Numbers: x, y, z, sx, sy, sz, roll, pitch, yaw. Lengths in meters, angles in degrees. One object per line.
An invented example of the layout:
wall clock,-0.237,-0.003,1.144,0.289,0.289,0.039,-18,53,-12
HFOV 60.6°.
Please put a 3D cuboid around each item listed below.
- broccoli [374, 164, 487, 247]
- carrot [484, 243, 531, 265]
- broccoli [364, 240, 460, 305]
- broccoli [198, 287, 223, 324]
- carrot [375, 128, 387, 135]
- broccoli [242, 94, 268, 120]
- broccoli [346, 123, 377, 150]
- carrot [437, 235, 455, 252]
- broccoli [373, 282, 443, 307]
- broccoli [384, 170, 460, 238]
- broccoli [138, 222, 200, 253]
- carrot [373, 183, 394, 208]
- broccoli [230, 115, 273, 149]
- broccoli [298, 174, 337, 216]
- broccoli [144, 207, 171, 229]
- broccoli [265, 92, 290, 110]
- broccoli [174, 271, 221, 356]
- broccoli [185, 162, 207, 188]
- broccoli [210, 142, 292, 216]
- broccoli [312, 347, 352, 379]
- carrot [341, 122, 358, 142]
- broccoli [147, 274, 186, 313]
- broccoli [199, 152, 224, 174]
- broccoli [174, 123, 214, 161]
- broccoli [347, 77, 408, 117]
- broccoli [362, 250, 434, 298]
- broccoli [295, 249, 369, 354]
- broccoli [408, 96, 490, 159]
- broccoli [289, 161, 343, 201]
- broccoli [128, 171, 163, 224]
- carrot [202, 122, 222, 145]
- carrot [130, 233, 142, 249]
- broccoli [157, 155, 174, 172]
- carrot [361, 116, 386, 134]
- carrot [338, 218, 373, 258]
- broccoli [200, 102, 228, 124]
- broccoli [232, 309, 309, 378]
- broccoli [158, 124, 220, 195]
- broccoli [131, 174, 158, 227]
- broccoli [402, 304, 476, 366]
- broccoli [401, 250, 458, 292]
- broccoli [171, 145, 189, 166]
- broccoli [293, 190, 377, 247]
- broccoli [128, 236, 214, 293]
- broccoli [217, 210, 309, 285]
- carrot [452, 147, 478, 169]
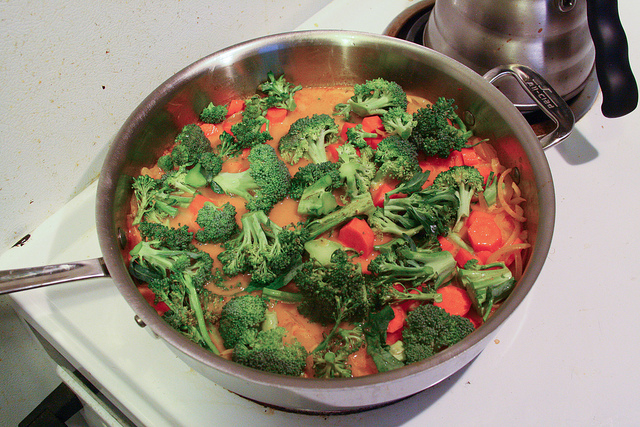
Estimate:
broccoli,0.570,-0.050,2.905,0.541,0.378,0.249,-9,37,11
carrot,0.927,0.187,2.726,0.129,0.135,0.032,-32,85,-2
broccoli,0.533,0.324,2.791,0.438,0.375,0.170,-31,88,20
broccoli,-0.526,0.458,2.687,0.122,0.037,0.158,-4,83,-25
carrot,0.345,-0.459,3.075,0.056,0.017,0.013,25,60,14
broccoli,-0.367,-0.611,3.125,0.126,0.038,0.149,28,46,16
broccoli,0.226,-0.440,3.016,0.148,0.075,0.134,0,79,3
carrot,0.656,0.147,2.825,0.069,0.018,0.069,-20,70,-11
broccoli,0.420,0.397,2.634,0.232,0.143,0.100,3,96,0
broccoli,0.522,-0.042,2.819,0.351,0.116,0.336,-1,70,6
broccoli,-0.781,0.118,2.856,0.199,0.086,0.199,-28,93,-1
carrot,0.339,-0.095,2.884,0.116,0.029,0.111,-6,105,-38
broccoli,-0.397,-0.491,3.075,0.095,0.212,0.186,45,50,5
broccoli,-0.012,-0.088,2.848,0.181,0.062,0.183,9,76,29
broccoli,-0.870,0.033,2.937,0.138,0.040,0.096,30,57,-12
broccoli,-0.234,-0.644,3.117,0.093,0.104,0.057,-31,64,18
broccoli,-0.614,0.461,2.726,0.064,0.112,0.571,-36,67,28
broccoli,-0.664,-0.203,2.945,0.100,0.062,0.127,28,85,-12
broccoli,-0.347,-0.178,2.902,0.394,0.215,0.337,-6,66,-3
broccoli,0.055,0.700,2.556,0.184,0.106,0.128,-7,84,0
carrot,0.173,-0.473,3.169,0.102,0.031,0.096,4,87,44
broccoli,-0.737,0.395,2.676,0.173,0.074,0.169,-5,82,-10
broccoli,-0.589,-0.276,2.961,0.120,0.062,0.098,-3,43,-23
broccoli,-0.687,-0.403,2.983,0.188,0.082,0.185,-32,94,-31
broccoli,0.331,-0.653,3.087,0.246,0.139,0.245,-41,64,-12
broccoli,0.372,0.295,2.686,0.294,0.162,0.215,4,65,-5
broccoli,-0.006,0.438,2.710,0.329,0.371,0.362,0,52,-13
broccoli,0.680,-0.454,2.904,0.395,0.172,0.294,10,73,17
broccoli,-0.017,-0.175,2.965,0.230,0.104,0.183,-31,78,12
broccoli,-0.939,-0.086,2.927,0.174,0.108,0.235,41,69,-5
carrot,-0.605,-0.451,3.101,0.090,0.029,0.117,-18,101,-26
carrot,-0.954,0.138,2.849,0.057,0.016,0.057,15,70,11
broccoli,-0.838,-0.272,2.970,0.077,0.036,0.083,-4,92,-4
carrot,0.306,-0.510,3.142,0.102,0.050,0.101,-6,77,3
carrot,0.188,0.130,2.789,0.164,0.095,0.121,36,105,19
broccoli,-0.598,-0.558,3.027,0.114,0.071,0.128,2,61,1
broccoli,-0.233,0.623,2.535,0.276,0.146,0.233,23,49,31
broccoli,-0.701,-0.284,2.966,0.383,0.128,0.290,-38,84,1
broccoli,-0.940,-0.066,2.903,0.144,0.111,0.233,28,61,-12
broccoli,0.538,0.537,2.665,0.159,0.290,0.332,-45,62,14
broccoli,0.541,0.265,2.725,0.221,0.082,0.225,-19,81,-5
broccoli,-0.758,-0.317,2.965,0.088,0.046,0.093,0,81,-1
broccoli,0.083,0.020,2.848,0.354,0.129,0.240,-31,59,5
broccoli,-0.736,0.236,2.706,0.336,0.138,0.228,9,68,-5
broccoli,-0.303,0.173,2.763,0.373,0.161,0.377,-19,59,-18
carrot,0.792,-0.303,2.985,0.134,0.037,0.126,-7,76,14
